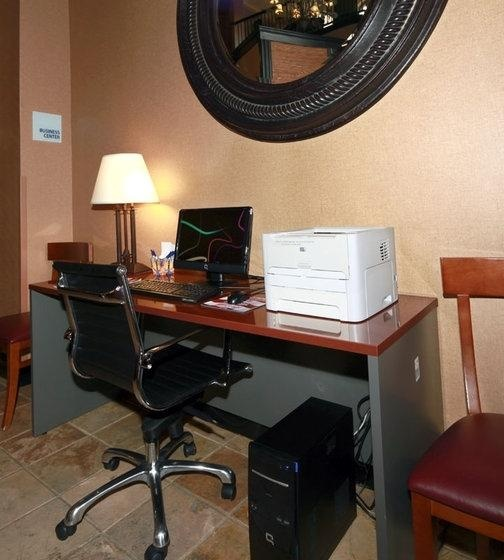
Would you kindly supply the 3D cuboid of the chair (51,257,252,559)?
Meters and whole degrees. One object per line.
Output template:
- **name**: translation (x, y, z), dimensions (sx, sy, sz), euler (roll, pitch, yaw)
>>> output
- **chair**: translation (-0.555, 0.340, 2.054), dimensions (0.914, 1.279, 0.831), euler (-6, 9, -43)

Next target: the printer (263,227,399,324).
- **printer**: translation (0.264, -0.010, 1.397), dimensions (0.318, 0.246, 0.324), euler (-1, 4, 40)
